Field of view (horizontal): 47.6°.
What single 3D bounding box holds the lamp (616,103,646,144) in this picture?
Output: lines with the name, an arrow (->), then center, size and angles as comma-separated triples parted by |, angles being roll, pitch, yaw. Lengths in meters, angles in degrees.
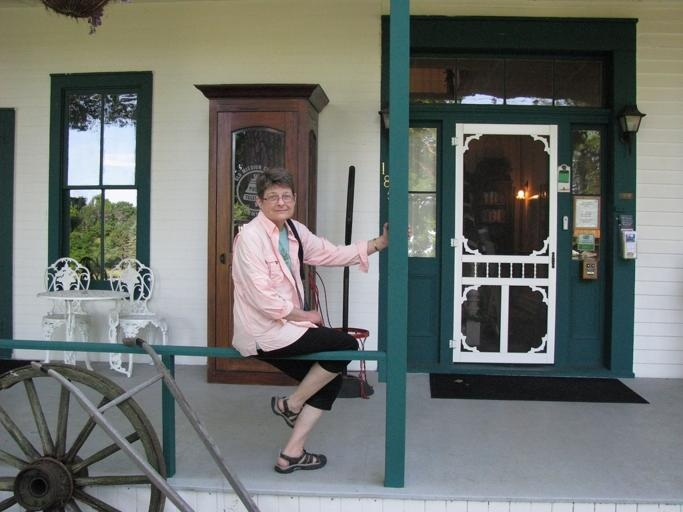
lamp -> 2.844, -1.301, 7.630 | 0.309, 0.443, 0.306 | -1, 4, 0

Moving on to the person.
person -> -0.326, 0.474, 5.771 | 0.979, 2.199, 0.583 | -2, 13, -9

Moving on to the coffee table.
coffee table -> -2.558, 0.752, 7.804 | 0.624, 0.496, 0.601 | 4, 8, 33

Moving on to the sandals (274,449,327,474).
sandals -> -0.304, 1.515, 5.818 | 0.394, 0.180, 0.154 | -2, -1, -18

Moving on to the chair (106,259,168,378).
chair -> -2.045, 0.573, 7.860 | 0.561, 1.093, 0.597 | 0, 3, -37

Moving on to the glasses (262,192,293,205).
glasses -> -0.463, -0.420, 5.657 | 0.225, 0.080, 0.059 | -3, 14, -14
